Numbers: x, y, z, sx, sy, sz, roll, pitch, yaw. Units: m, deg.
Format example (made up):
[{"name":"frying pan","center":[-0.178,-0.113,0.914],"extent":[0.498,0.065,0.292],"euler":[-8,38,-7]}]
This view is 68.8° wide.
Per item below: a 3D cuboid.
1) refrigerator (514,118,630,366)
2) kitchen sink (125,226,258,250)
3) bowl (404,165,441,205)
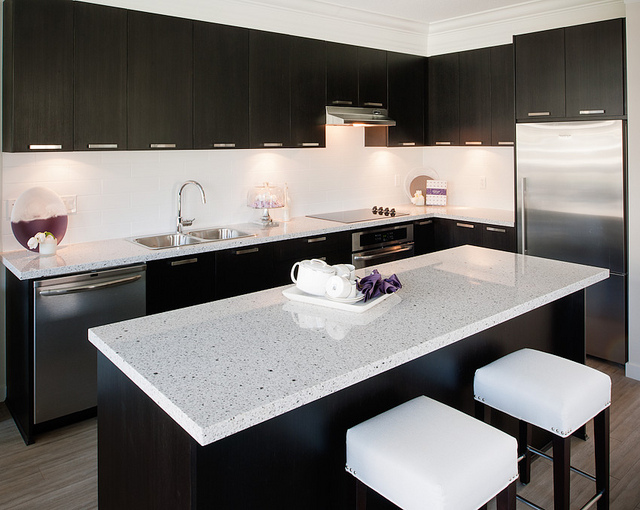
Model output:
[{"name":"refrigerator","center":[2.318,-0.201,4.176],"extent":[0.659,2.139,0.896],"euler":[-27,25,-37]},{"name":"kitchen sink","center":[-1.073,-0.131,3.832],"extent":[0.977,0.114,0.450],"euler":[-8,15,-26]},{"name":"bowl","center":[1.185,-0.822,5.492],"extent":[0.405,0.415,0.206],"euler":[1,12,10]}]
